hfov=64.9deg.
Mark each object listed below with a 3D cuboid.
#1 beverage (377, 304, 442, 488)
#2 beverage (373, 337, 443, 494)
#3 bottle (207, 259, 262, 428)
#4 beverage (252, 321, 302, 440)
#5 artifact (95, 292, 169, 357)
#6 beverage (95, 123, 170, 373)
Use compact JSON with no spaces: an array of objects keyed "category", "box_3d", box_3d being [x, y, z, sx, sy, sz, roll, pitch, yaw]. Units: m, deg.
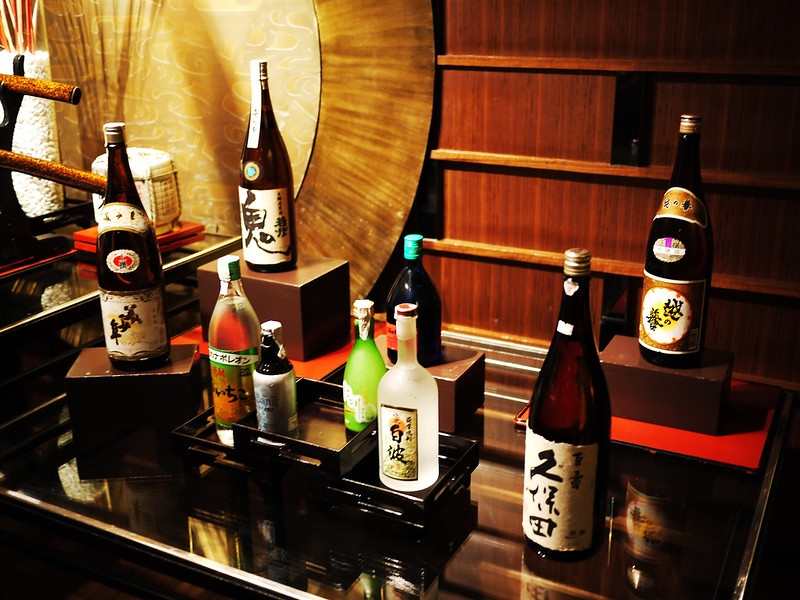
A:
[{"category":"beverage","box_3d":[0.011,0.125,0.859,0.084,0.274,0.085,-10,22,-36]},{"category":"beverage","box_3d":[0.012,0.134,0.866,0.076,0.240,0.079,-2,13,-8]},{"category":"bottle","box_3d":[-0.269,0.085,1.023,0.073,0.221,0.068,3,17,-1]},{"category":"beverage","box_3d":[-0.190,0.115,0.966,0.067,0.182,0.087,0,18,-10]},{"category":"artifact","box_3d":[-0.462,0.031,1.141,0.106,0.125,0.109,6,16,35]},{"category":"beverage","box_3d":[-0.479,-0.092,1.083,0.161,0.408,0.103,15,21,32]}]
